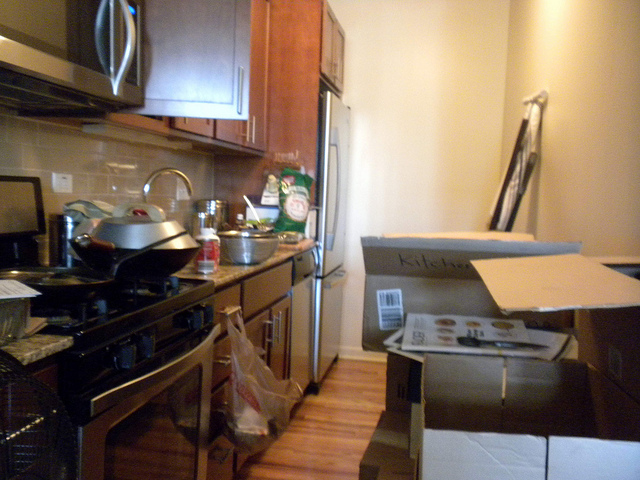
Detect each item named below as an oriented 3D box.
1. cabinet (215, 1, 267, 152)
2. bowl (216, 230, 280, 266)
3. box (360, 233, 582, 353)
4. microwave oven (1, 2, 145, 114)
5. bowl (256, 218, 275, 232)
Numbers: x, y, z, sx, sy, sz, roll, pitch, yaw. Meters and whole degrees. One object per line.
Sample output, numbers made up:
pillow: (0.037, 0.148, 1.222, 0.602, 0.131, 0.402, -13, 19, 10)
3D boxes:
cabinet: (-0.512, -0.956, 3.039, 0.263, 0.863, 0.412, 3, 9, 9)
bowl: (-0.322, 0.028, 2.384, 0.301, 0.159, 0.314, 1, 3, 0)
box: (0.388, 0.122, 1.515, 0.459, 0.283, 0.451, 0, 4, 15)
microwave oven: (-0.738, -0.558, 1.536, 0.225, 0.219, 0.340, 2, 7, 7)
bowl: (-0.324, -0.094, 3.070, 0.108, 0.061, 0.239, 1, 7, -6)
